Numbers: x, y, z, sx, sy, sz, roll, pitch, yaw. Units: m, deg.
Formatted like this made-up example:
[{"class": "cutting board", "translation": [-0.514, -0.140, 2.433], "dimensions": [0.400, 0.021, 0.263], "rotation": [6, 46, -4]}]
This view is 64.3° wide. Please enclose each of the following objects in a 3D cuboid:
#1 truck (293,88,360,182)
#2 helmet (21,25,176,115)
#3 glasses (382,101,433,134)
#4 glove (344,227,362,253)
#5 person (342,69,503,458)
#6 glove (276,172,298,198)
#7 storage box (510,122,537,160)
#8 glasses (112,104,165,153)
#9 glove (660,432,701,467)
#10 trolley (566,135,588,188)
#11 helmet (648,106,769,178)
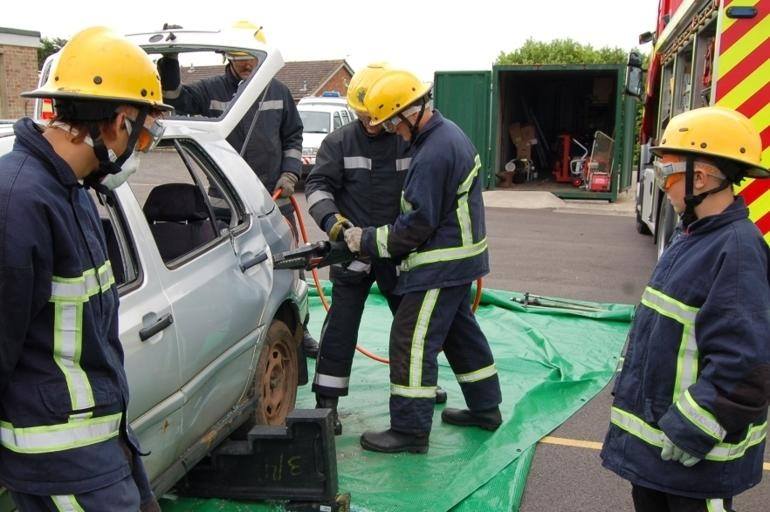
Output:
[{"class": "truck", "translation": [-2.158, -3.521, 17.775], "dimensions": [1.801, 1.938, 3.506], "rotation": [13, 23, 11]}, {"class": "helmet", "translation": [-1.092, -0.727, 2.407], "dimensions": [0.435, 0.282, 0.545], "rotation": [14, 15, 35]}, {"class": "glasses", "translation": [0.145, -0.924, 4.038], "dimensions": [0.272, 0.108, 0.198], "rotation": [-32, 4, -3]}, {"class": "glove", "translation": [-0.214, -0.115, 4.191], "dimensions": [0.115, 0.162, 0.059], "rotation": [-27, -32, 35]}, {"class": "person", "translation": [0.309, 0.073, 4.257], "dimensions": [1.013, 2.590, 0.503], "rotation": [-7, 15, -31]}, {"class": "glove", "translation": [-0.923, -0.632, 5.669], "dimensions": [0.178, 0.239, 0.093], "rotation": [1, 32, -40]}, {"class": "storage box", "translation": [4.584, -3.799, 20.493], "dimensions": [0.986, 1.234, 0.514], "rotation": [-3, 10, -12]}, {"class": "glasses", "translation": [-0.959, -0.483, 2.350], "dimensions": [0.121, 0.169, 0.098], "rotation": [5, -2, 12]}, {"class": "glove", "translation": [1.249, 0.824, 2.589], "dimensions": [0.149, 0.151, 0.102], "rotation": [7, 15, 27]}, {"class": "trolley", "translation": [6.487, -3.032, 20.425], "dimensions": [0.688, 1.501, 0.880], "rotation": [2, 7, 14]}, {"class": "helmet", "translation": [1.446, -0.485, 2.743], "dimensions": [0.397, 0.212, 0.312], "rotation": [2, 7, 17]}]
